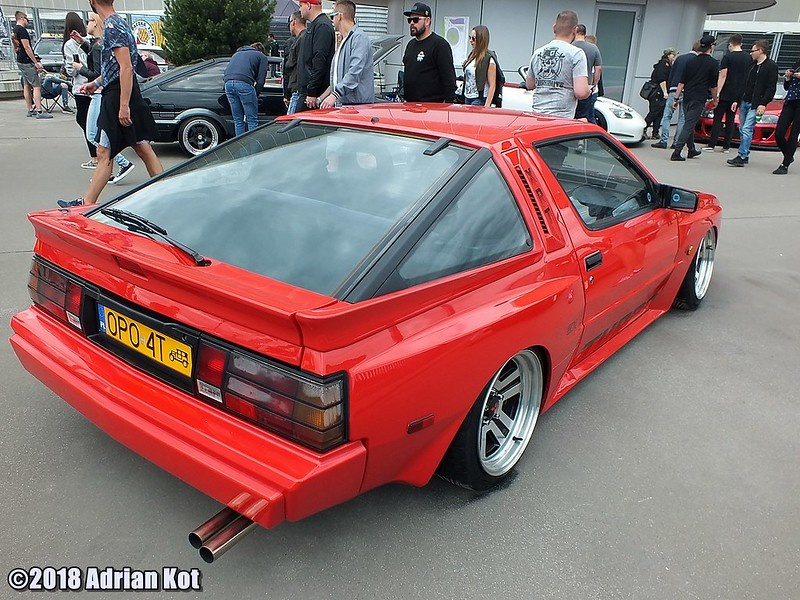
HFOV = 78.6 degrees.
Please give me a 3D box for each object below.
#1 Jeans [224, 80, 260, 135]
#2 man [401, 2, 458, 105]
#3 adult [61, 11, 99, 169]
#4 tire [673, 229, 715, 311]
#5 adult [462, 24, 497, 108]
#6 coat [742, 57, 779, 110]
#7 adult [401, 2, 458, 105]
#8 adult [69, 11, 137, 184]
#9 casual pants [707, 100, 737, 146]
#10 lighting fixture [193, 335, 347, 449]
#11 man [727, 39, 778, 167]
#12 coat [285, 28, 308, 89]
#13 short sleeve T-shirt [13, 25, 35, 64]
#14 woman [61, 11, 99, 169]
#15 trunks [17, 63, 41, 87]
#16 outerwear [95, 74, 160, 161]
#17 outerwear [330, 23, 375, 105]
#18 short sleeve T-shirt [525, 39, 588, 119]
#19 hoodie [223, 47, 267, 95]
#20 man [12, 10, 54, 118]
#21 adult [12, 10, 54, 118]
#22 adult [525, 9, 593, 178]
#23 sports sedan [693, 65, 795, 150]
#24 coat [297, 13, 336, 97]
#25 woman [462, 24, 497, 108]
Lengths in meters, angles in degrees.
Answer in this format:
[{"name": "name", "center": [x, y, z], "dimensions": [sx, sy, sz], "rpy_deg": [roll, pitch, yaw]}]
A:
[{"name": "Jeans", "center": [-2.628, -3.165, 8.358], "dimensions": [0.474, 1.080, 0.346], "rpy_deg": [5, 31, 15]}, {"name": "man", "center": [0.371, -3.196, 6.458], "dimensions": [0.574, 1.162, 0.831], "rpy_deg": [-12, 29, -22]}, {"name": "adult", "center": [-4.901, -3.283, 7.932], "dimensions": [0.576, 2.459, 0.688], "rpy_deg": [8, 18, -10]}, {"name": "tire", "center": [2.416, -0.254, 4.124], "dimensions": [0.156, 0.507, 0.488], "rpy_deg": [17, 40, 33]}, {"name": "adult", "center": [1.391, -3.933, 8.385], "dimensions": [0.512, 1.234, 1.034], "rpy_deg": [-1, 26, -2]}, {"name": "coat", "center": [7.141, -4.386, 9.958], "dimensions": [0.425, 0.878, 0.676], "rpy_deg": [-22, 37, -10]}, {"name": "adult", "center": [0.357, -3.199, 6.464], "dimensions": [0.493, 1.162, 0.835], "rpy_deg": [-19, 32, -33]}, {"name": "adult", "center": [-4.657, -3.121, 7.678], "dimensions": [0.748, 2.389, 0.619], "rpy_deg": [22, 23, 22]}, {"name": "casual pants", "center": [7.595, -4.139, 11.629], "dimensions": [0.319, 1.294, 0.409], "rpy_deg": [21, 11, 39]}, {"name": "lighting fixture", "center": [-0.532, 0.306, 1.858], "dimensions": [0.733, 0.285, 0.200], "rpy_deg": [12, 8, 32]}, {"name": "man", "center": [7.136, -4.041, 10.201], "dimensions": [0.615, 2.362, 0.691], "rpy_deg": [-3, 22, 5]}, {"name": "coat", "center": [-1.668, -3.722, 8.103], "dimensions": [0.339, 1.076, 0.774], "rpy_deg": [-3, 2, -20]}, {"name": "short sleeve T-shirt", "center": [-10.193, -6.797, 13.278], "dimensions": [0.598, 0.861, 0.337], "rpy_deg": [7, 24, 20]}, {"name": "woman", "center": [-4.906, -3.255, 7.921], "dimensions": [0.573, 2.346, 0.576], "rpy_deg": [0, 11, -33]}, {"name": "trunks", "center": [-9.795, -5.939, 13.118], "dimensions": [0.432, 0.584, 0.397], "rpy_deg": [-11, 28, -21]}, {"name": "outerwear", "center": [-2.997, -2.173, 5.700], "dimensions": [0.525, 0.813, 0.723], "rpy_deg": [-5, 17, 25]}, {"name": "outerwear", "center": [-0.616, -2.910, 6.194], "dimensions": [0.533, 0.886, 0.534], "rpy_deg": [-4, 26, -7]}, {"name": "short sleeve T-shirt", "center": [2.020, -2.858, 6.447], "dimensions": [0.619, 1.069, 0.942], "rpy_deg": [-21, 34, -30]}, {"name": "hoodie", "center": [-2.563, -3.796, 8.227], "dimensions": [0.736, 0.718, 0.471], "rpy_deg": [-15, 30, -27]}, {"name": "man", "center": [-9.922, -6.337, 13.396], "dimensions": [0.738, 2.621, 0.690], "rpy_deg": [12, 18, 31]}, {"name": "adult", "center": [-9.927, -6.318, 13.382], "dimensions": [0.739, 2.596, 0.674], "rpy_deg": [13, 18, 32]}, {"name": "adult", "center": [2.087, -2.588, 6.664], "dimensions": [0.752, 2.318, 0.620], "rpy_deg": [25, 43, 35]}, {"name": "sports sedan", "center": [9.396, -4.848, 13.052], "dimensions": [4.000, 1.449, 1.786], "rpy_deg": [-16, 21, -39]}, {"name": "coat", "center": [-1.204, -3.509, 7.075], "dimensions": [0.450, 1.058, 1.088], "rpy_deg": [-3, 26, -18]}, {"name": "woman", "center": [1.384, -3.938, 8.395], "dimensions": [0.541, 1.234, 1.050], "rpy_deg": [0, 26, 1]}]
